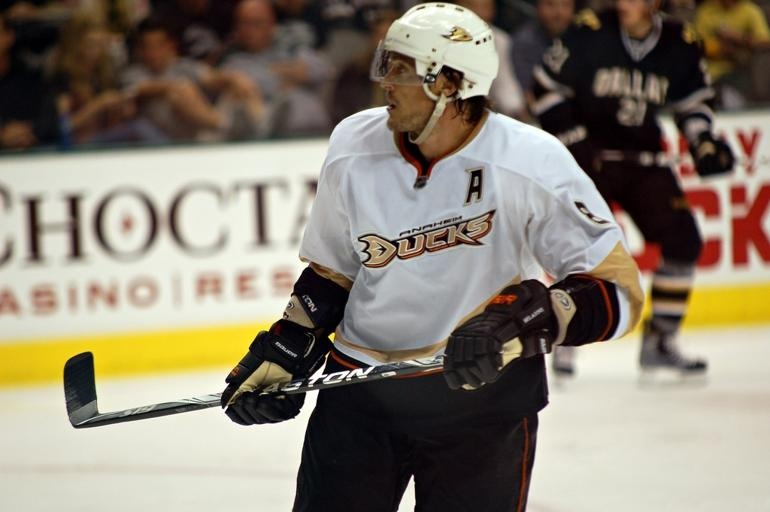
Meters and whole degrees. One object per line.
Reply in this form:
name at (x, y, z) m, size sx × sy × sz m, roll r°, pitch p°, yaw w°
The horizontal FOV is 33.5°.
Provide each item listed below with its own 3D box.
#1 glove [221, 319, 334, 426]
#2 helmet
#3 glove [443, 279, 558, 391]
glove at (-0.542, 0.536, 6.070) m, size 0.226 × 0.539 × 0.384 m, roll 40°, pitch -5°, yaw 48°
helmet at (0.248, -0.957, 6.149) m, size 0.519 × 0.410 × 0.452 m, roll 13°, pitch 6°, yaw 6°
glove at (0.495, 0.336, 5.867) m, size 0.424 × 0.264 × 0.617 m, roll 5°, pitch 17°, yaw 43°
